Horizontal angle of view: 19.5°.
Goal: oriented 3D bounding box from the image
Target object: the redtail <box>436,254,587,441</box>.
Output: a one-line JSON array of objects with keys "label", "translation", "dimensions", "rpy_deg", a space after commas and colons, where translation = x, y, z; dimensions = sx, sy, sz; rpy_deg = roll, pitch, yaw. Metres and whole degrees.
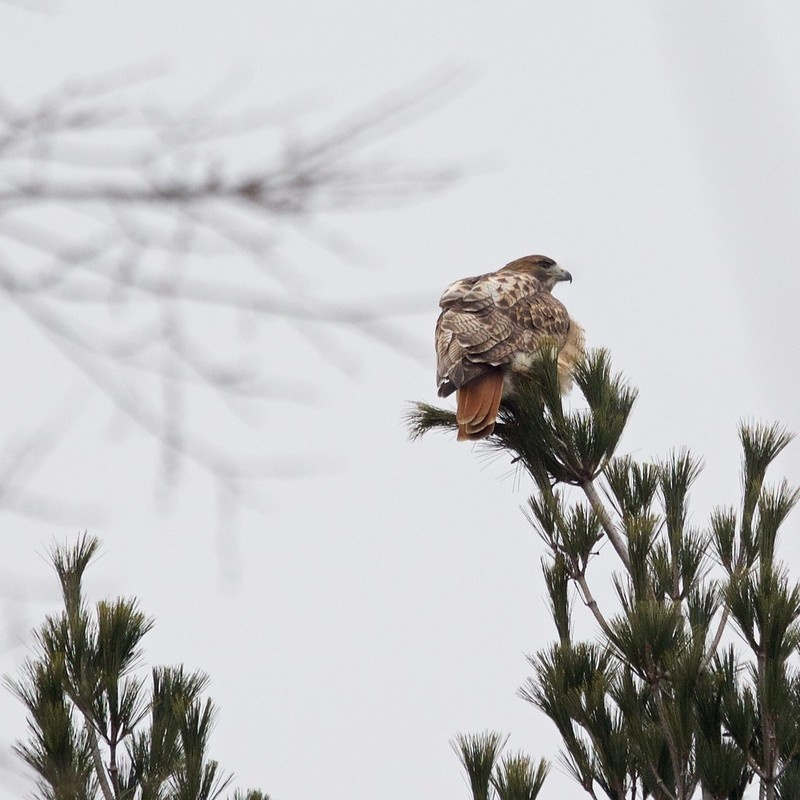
[{"label": "redtail", "translation": [0.386, -0.133, 8.353], "dimensions": [0.280, 0.713, 0.473], "rpy_deg": [-19, -28, 36]}]
